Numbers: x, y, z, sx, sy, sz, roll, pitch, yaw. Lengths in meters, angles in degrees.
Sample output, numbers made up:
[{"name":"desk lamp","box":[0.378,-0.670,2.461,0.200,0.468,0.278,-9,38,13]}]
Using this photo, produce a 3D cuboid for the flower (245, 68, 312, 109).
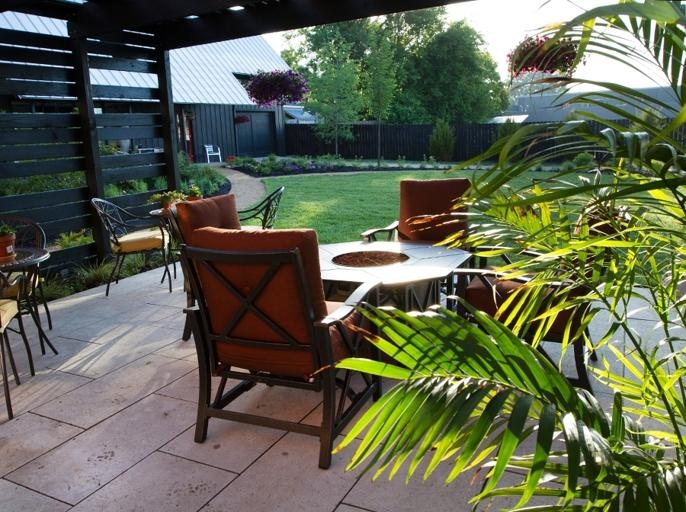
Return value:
[{"name":"flower","box":[-1.434,-3.748,10.455,1.273,0.732,0.801,-6,12,-6]}]
